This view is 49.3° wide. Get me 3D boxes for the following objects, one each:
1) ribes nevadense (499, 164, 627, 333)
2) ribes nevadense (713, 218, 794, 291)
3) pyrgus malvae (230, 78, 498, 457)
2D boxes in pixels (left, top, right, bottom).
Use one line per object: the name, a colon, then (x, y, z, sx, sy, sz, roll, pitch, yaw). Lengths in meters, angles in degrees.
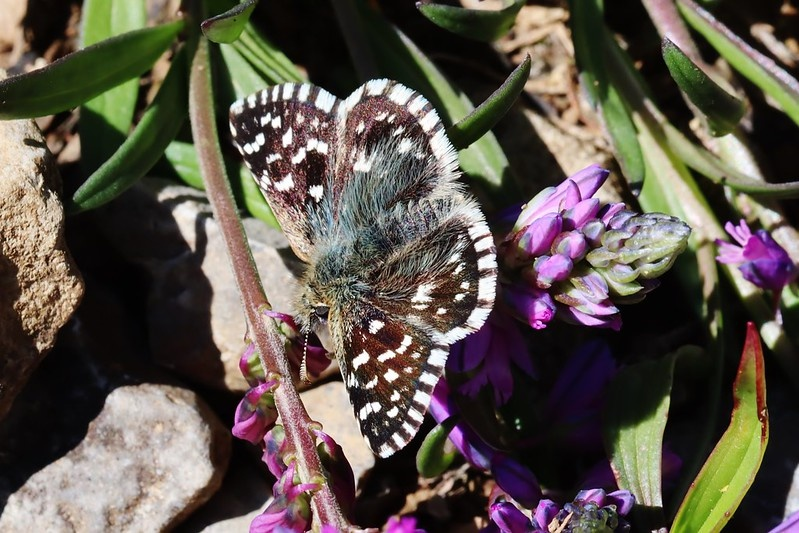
ribes nevadense: (0.438, -0.025, 2.237, 0.189, 0.407, 0.370, 3, 36, -40)
ribes nevadense: (0.984, -0.017, 2.420, 0.151, 0.136, 0.202, 8, 35, -37)
pyrgus malvae: (-0.095, -0.117, 2.350, 0.269, 0.684, 0.970, -5, 44, -48)
